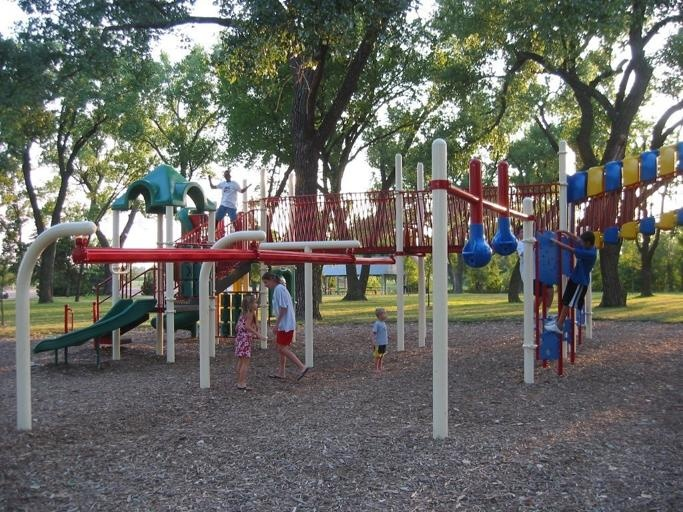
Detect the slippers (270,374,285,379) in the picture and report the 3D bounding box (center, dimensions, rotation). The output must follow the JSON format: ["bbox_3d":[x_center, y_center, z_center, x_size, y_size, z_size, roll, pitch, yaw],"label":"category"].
[{"bbox_3d":[-1.458,2.753,17.787,0.260,0.075,0.125,9,-3,7],"label":"slippers"}]

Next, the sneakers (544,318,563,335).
[{"bbox_3d":[4.723,1.584,17.591,0.422,0.190,0.199,13,-1,17],"label":"sneakers"}]

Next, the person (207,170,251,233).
[{"bbox_3d":[-3.290,-1.650,22.760,0.966,1.617,0.480,-3,-3,32],"label":"person"}]

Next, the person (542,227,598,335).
[{"bbox_3d":[5.161,0.610,17.653,1.003,2.252,0.722,-2,-3,18],"label":"person"}]

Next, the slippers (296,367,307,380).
[{"bbox_3d":[-0.890,2.652,17.470,0.147,0.139,0.380,4,-28,-10],"label":"slippers"}]

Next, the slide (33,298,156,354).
[{"bbox_3d":[-6.028,1.732,19.731,2.457,1.278,1.559,2,-6,-12],"label":"slide"}]
